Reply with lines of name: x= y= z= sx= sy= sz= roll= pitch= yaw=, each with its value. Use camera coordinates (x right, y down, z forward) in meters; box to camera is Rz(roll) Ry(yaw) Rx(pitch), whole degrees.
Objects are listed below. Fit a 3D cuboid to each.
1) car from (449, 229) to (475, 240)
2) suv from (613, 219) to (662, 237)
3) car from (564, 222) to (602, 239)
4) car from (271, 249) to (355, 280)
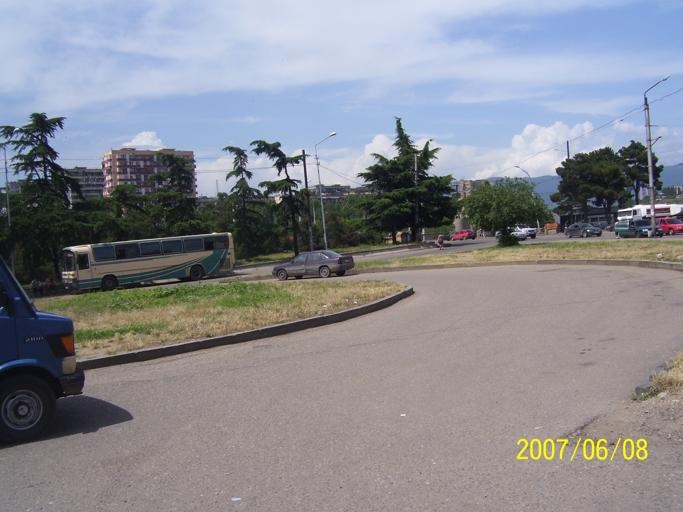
car: x=13.383 y=-2.274 z=73.551 sx=2.866 sy=1.021 sz=1.373 roll=5 pitch=7 yaw=44
suv: x=20.969 y=-1.971 z=46.722 sx=1.540 sy=1.137 sz=3.061 roll=-2 pitch=-3 yaw=-17
car: x=20.902 y=-2.091 z=56.175 sx=1.879 sy=1.129 sz=5.082 roll=-2 pitch=7 yaw=7
car: x=-1.354 y=0.479 z=30.832 sx=3.793 sy=1.362 sz=0.847 roll=1 pitch=8 yaw=31
